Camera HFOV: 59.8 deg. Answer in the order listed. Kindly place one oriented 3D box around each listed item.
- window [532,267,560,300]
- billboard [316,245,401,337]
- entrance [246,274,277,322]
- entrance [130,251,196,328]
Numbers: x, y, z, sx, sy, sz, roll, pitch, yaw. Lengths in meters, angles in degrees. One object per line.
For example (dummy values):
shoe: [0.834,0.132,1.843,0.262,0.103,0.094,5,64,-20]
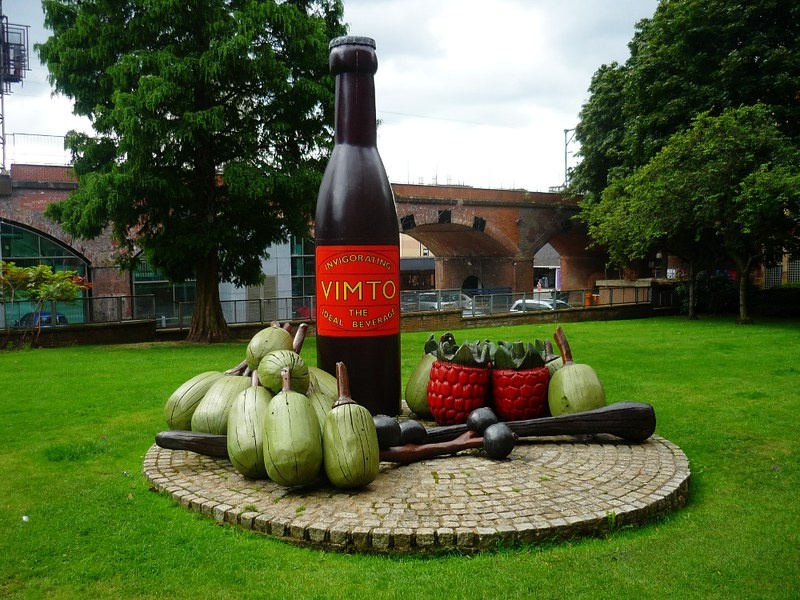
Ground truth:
window: [12.305,-1.509,58.623,2.660,3.168,5.311,2,9,18]
billboard: [-0.598,-0.210,10.048,1.097,1.397,1.130,0,4,3]
entrance: [-5.730,-0.033,28.649,0.251,2.234,1.708,-4,7,-37]
entrance: [-8.642,-0.252,25.964,2.509,2.738,1.535,-2,-14,-29]
